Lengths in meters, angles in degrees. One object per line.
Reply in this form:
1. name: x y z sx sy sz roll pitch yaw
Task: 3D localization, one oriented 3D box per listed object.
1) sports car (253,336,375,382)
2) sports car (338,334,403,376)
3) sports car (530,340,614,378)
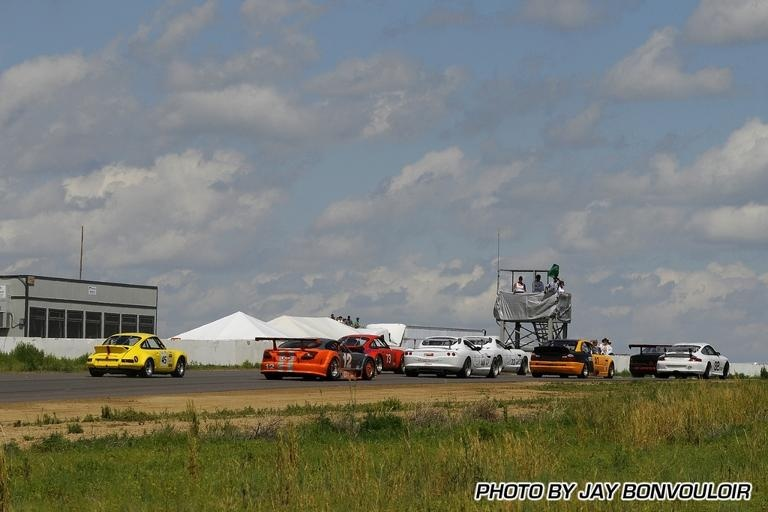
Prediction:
1. sports car: -2.271 3.651 42.781 2.725 1.580 4.854 0 -5 27
2. sports car: -0.578 4.016 49.936 2.293 1.424 4.142 6 -1 25
3. sports car: 7.884 4.321 50.375 2.268 1.654 4.982 -8 -11 42
